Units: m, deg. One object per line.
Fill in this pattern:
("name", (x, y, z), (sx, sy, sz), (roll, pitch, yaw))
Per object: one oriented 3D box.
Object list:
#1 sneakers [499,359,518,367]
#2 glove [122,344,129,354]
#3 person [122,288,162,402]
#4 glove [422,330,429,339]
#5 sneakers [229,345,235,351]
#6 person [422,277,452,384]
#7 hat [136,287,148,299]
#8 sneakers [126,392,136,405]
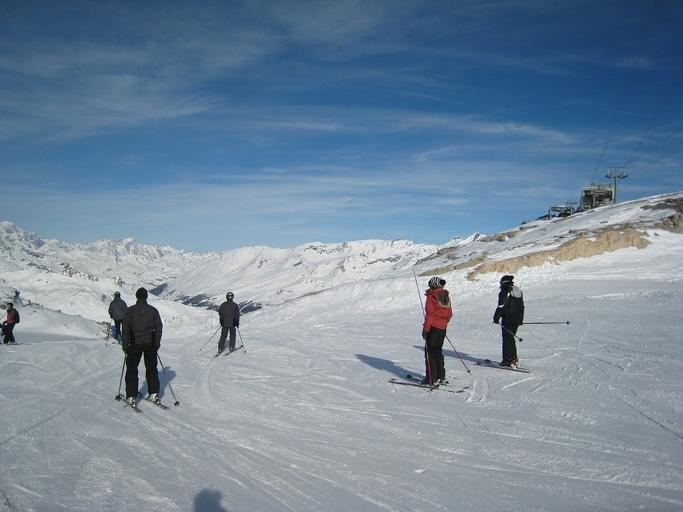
("sneakers", (5.059, 3.242, 17.785), (0.453, 0.126, 0.252), (-5, -3, 10))
("glove", (-5.453, 2.383, 14.938), (0.132, 0.251, 0.202), (-5, 10, -20))
("person", (-5.138, 2.360, 15.153), (0.967, 3.027, 1.185), (-2, 11, -3))
("glove", (2.260, 2.134, 16.039), (0.195, 0.199, 0.073), (-3, -10, 15))
("sneakers", (-4.051, 3.400, 21.721), (0.217, 0.150, 0.178), (9, 9, 3))
("person", (2.593, 2.098, 16.211), (0.600, 2.926, 0.869), (5, 13, 31))
("hat", (-5.138, 0.968, 15.216), (0.373, 0.293, 0.349), (8, 2, -8))
("sneakers", (-5.358, 3.668, 14.995), (0.133, 0.145, 0.389), (21, -4, -43))
